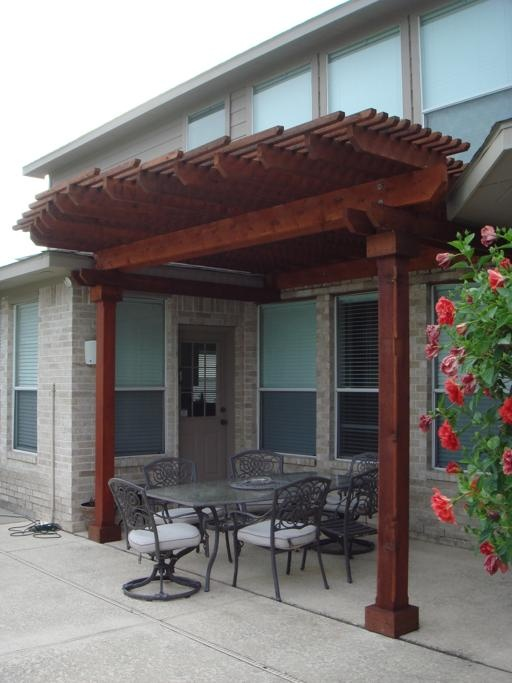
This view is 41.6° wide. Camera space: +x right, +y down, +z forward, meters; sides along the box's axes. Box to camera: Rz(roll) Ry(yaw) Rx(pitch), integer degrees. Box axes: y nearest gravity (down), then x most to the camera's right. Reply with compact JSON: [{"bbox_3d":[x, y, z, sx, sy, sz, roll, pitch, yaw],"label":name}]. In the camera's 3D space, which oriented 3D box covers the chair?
[{"bbox_3d":[-0.023,1.539,5.930,1.962,0.926,2.215,0,-4,-9],"label":"chair"}]
